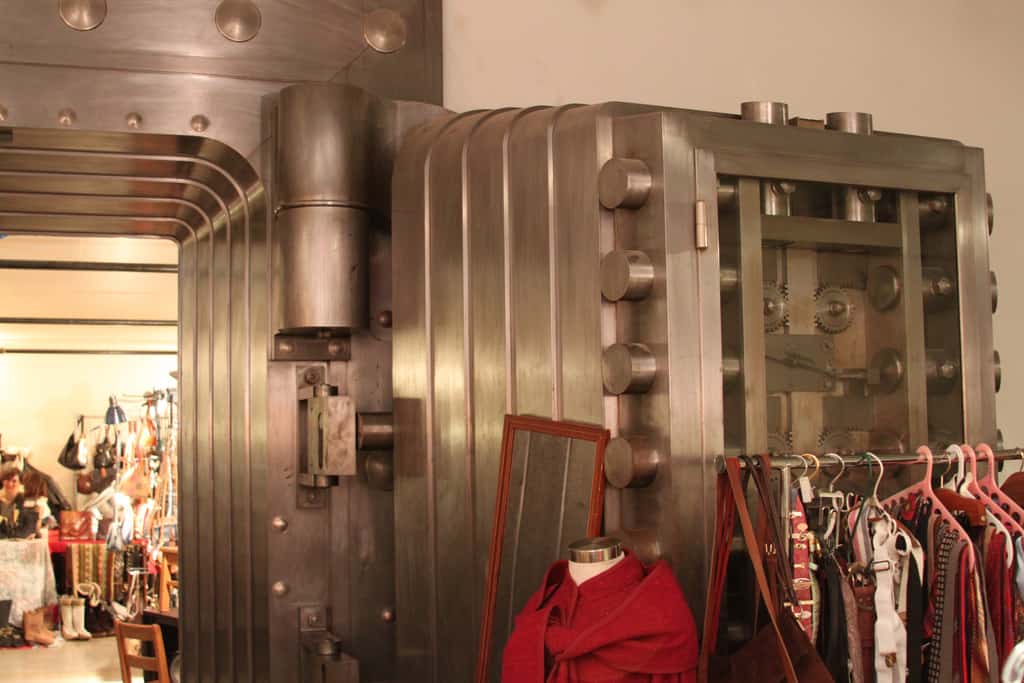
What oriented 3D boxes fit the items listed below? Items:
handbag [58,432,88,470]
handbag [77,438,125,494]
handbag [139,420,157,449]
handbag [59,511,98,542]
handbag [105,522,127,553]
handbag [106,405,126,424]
[{"bbox_3d":[-2.751,0.685,7.564,0.166,0.227,0.090,1,-1,-20],"label":"handbag"},{"bbox_3d":[-2.572,0.781,7.566,0.288,0.289,0.091,0,-13,15],"label":"handbag"},{"bbox_3d":[-2.270,0.579,7.571,0.105,0.164,0.163,8,-9,-16],"label":"handbag"},{"bbox_3d":[-2.663,1.117,7.414,0.241,0.164,0.112,1,-1,-10],"label":"handbag"},{"bbox_3d":[-2.358,1.163,7.226,0.117,0.148,0.049,1,-1,-8],"label":"handbag"},{"bbox_3d":[-2.486,0.462,7.642,0.112,0.121,0.113,0,-6,-4],"label":"handbag"}]
